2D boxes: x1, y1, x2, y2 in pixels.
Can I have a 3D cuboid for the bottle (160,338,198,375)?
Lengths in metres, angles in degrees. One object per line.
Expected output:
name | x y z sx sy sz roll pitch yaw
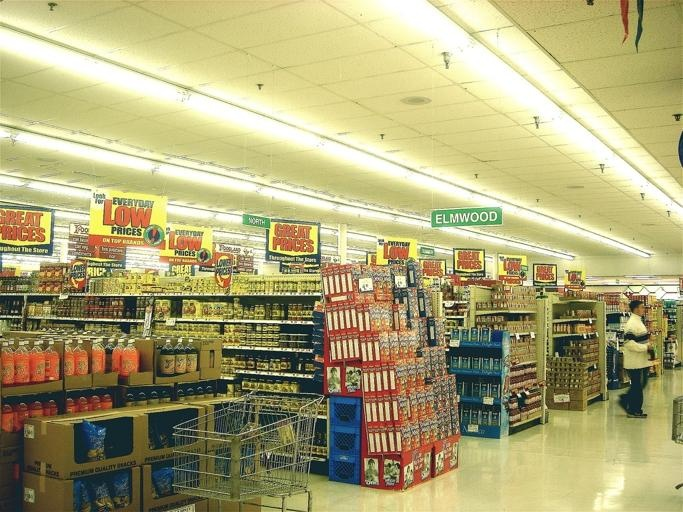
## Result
bottle | -1.617 1.028 5.931 0.169 0.348 0.367 -4 -6 31

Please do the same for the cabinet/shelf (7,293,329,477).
cabinet/shelf | -2.024 1.230 8.486 0.742 1.330 4.523 -22 -21 37
